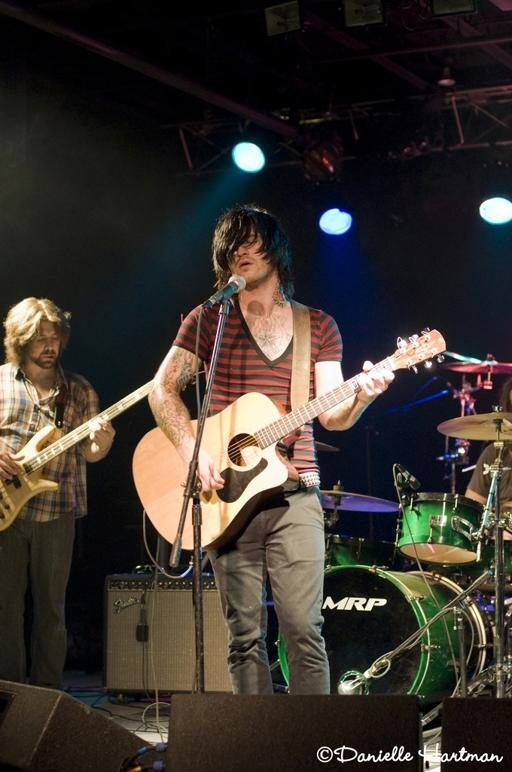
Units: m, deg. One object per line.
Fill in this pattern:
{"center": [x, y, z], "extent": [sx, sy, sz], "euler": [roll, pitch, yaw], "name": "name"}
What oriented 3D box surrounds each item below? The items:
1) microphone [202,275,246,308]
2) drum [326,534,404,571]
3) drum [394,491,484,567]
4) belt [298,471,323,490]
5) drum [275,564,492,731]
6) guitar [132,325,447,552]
{"center": [-0.126, -0.386, 3.059], "extent": [0.172, 0.161, 0.242], "euler": [-1, -11, -1], "name": "microphone"}
{"center": [0.666, 1.020, 4.959], "extent": [0.357, 0.194, 0.349], "euler": [2, -9, 0], "name": "drum"}
{"center": [1.134, 0.879, 4.605], "extent": [0.510, 0.288, 0.489], "euler": [7, -23, 3], "name": "drum"}
{"center": [0.198, 0.354, 2.942], "extent": [0.065, 0.076, 0.023], "euler": [6, -27, -16], "name": "belt"}
{"center": [0.776, 1.413, 4.634], "extent": [1.185, 1.037, 1.156], "euler": [-3, -5, 32], "name": "drum"}
{"center": [0.034, 0.316, 3.158], "extent": [1.579, 0.614, 0.231], "euler": [-30, -23, 11], "name": "guitar"}
